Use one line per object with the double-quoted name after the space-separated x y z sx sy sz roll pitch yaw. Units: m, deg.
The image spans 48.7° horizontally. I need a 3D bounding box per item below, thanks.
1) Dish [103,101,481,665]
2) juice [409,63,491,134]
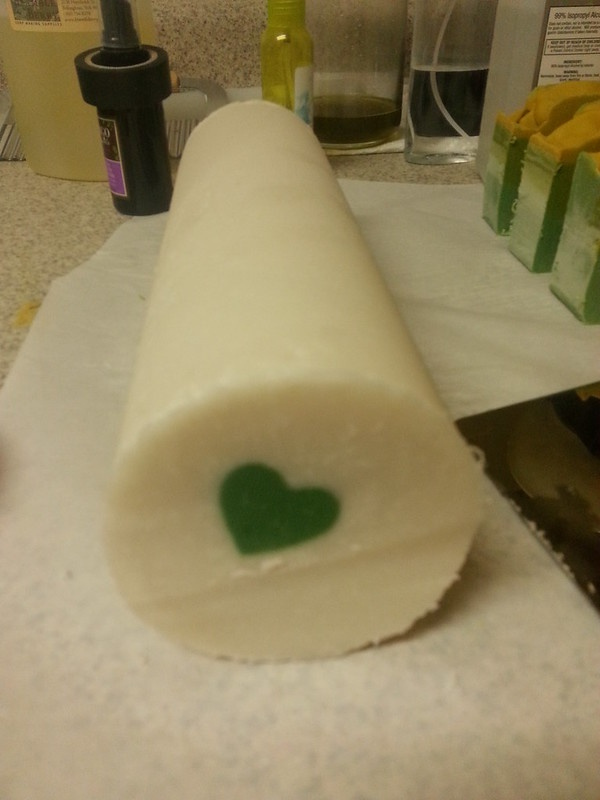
-0.032 -0.030 0.318 0.151 0.149 0.262 -13 39 -16 "Dish"
0.153 -0.308 0.679 0.061 0.061 0.058 15 54 17 "juice"
